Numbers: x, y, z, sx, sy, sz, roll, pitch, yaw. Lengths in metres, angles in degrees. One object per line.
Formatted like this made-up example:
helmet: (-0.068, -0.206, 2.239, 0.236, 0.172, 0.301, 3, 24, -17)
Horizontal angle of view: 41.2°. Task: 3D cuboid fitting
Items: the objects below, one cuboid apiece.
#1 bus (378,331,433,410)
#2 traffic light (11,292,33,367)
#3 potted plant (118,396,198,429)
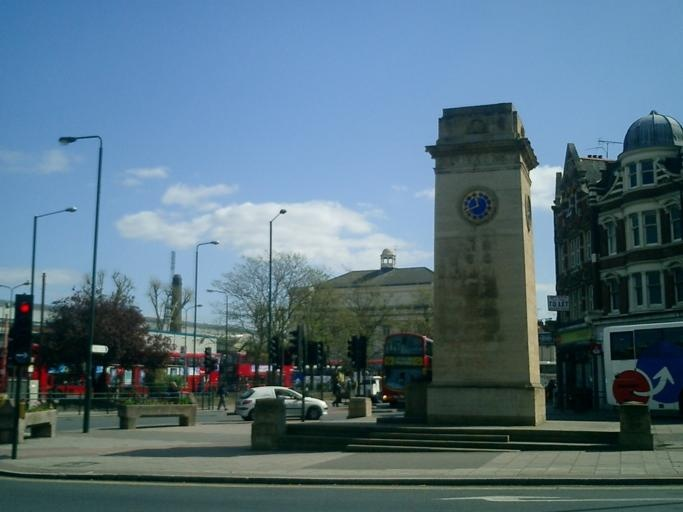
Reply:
bus: (3.779, 6.229, 51.812, 2.300, 4.585, 3.239, -5, -11, 29)
traffic light: (-9.535, 2.164, 27.036, 0.615, 2.137, 0.771, 4, -12, -20)
potted plant: (-7.815, 6.612, 38.357, 2.260, 1.294, 3.433, -5, -12, 18)
